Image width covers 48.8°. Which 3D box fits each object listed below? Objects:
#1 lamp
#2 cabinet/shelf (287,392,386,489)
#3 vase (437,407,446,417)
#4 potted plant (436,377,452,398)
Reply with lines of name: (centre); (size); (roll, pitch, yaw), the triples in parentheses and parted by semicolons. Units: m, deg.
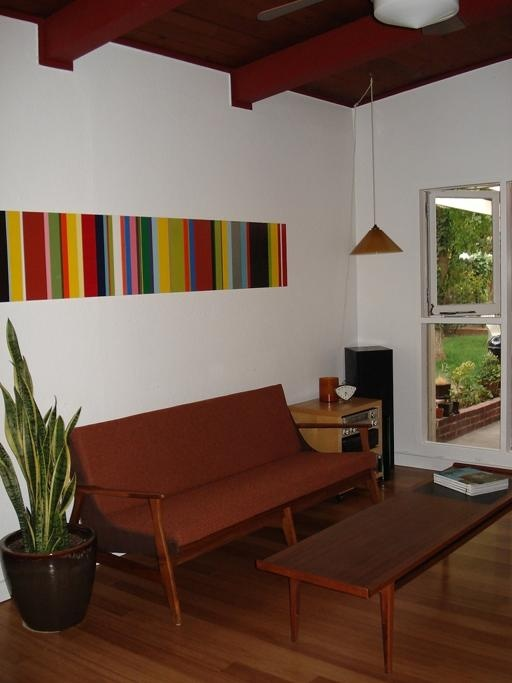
lamp: (0.933, -1.320, 4.439); (0.343, 1.038, 0.817); (-2, -1, 14)
cabinet/shelf: (0.607, 0.595, 3.997); (0.527, 0.700, 0.741); (-1, 4, 32)
vase: (1.505, 0.587, 4.630); (0.066, 0.055, 0.068); (0, -2, -22)
potted plant: (1.517, 0.386, 4.610); (0.146, 0.146, 0.143); (-5, 12, -22)
